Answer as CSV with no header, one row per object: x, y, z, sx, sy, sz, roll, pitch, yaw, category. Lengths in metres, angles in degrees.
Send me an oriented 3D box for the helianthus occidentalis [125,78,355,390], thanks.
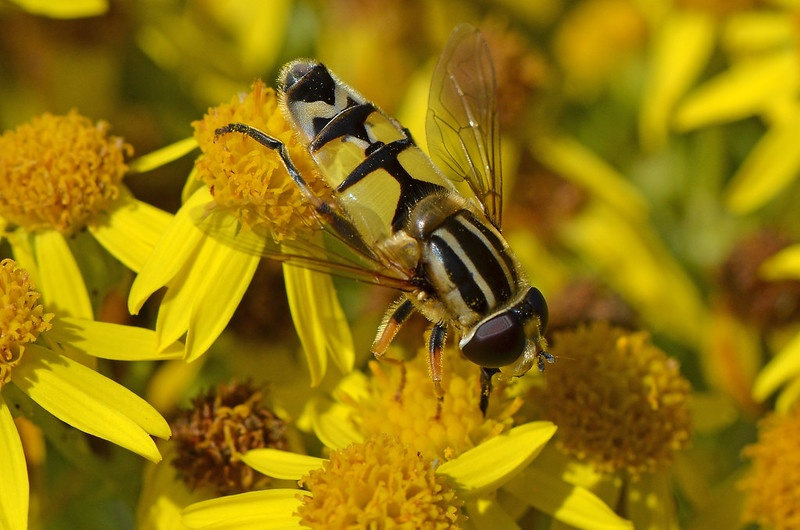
-0.470,-0.046,2.647,0.679,0.771,0.212,14,-10,-14,helianthus occidentalis

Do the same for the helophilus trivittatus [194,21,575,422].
-0.061,-0.080,2.656,0.527,0.615,0.969,1,48,-32,helophilus trivittatus
